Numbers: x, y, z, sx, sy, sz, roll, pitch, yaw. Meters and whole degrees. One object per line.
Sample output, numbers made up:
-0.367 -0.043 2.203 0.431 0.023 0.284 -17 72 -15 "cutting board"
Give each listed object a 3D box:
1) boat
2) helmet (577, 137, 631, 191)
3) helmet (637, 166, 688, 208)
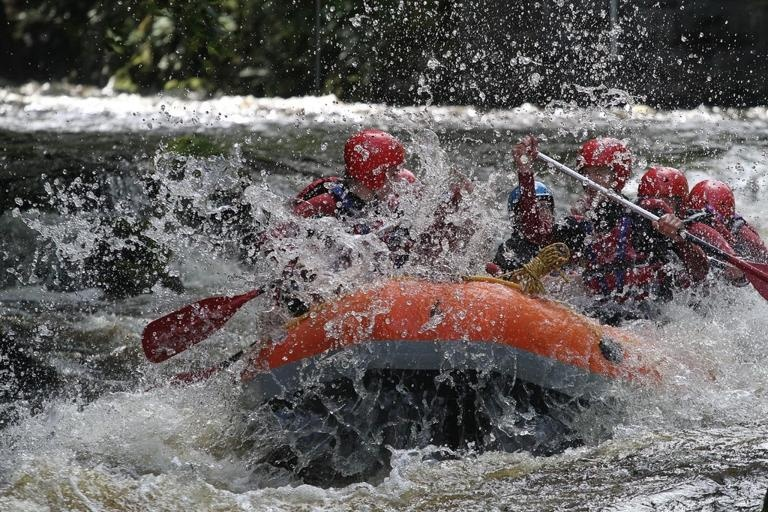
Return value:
0.883 1.451 13.044 3.888 5.656 1.969 2 86 9 "boat"
2.152 -0.894 11.657 0.414 0.542 0.509 9 105 33 "helmet"
2.720 -0.622 11.706 0.347 0.457 0.409 7 59 23 "helmet"
